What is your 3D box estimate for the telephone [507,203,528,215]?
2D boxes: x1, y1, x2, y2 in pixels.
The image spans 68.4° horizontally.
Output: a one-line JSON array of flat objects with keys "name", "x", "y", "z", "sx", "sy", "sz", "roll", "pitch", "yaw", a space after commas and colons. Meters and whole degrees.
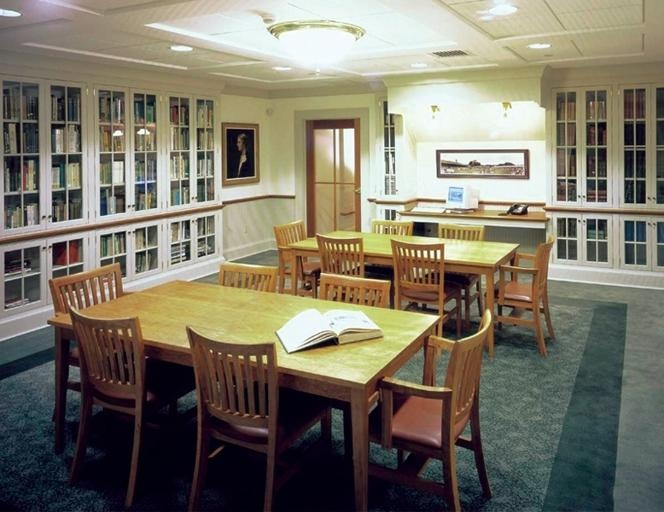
[{"name": "telephone", "x": 2.753, "y": -0.692, "z": 7.193, "sx": 0.320, "sy": 0.132, "sz": 0.229, "roll": -12, "pitch": 17, "yaw": -39}]

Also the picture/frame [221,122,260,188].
[{"name": "picture/frame", "x": -1.566, "y": -1.745, "z": 8.296, "sx": 0.088, "sy": 1.190, "sz": 1.122, "roll": 4, "pitch": 10, "yaw": 28}]
